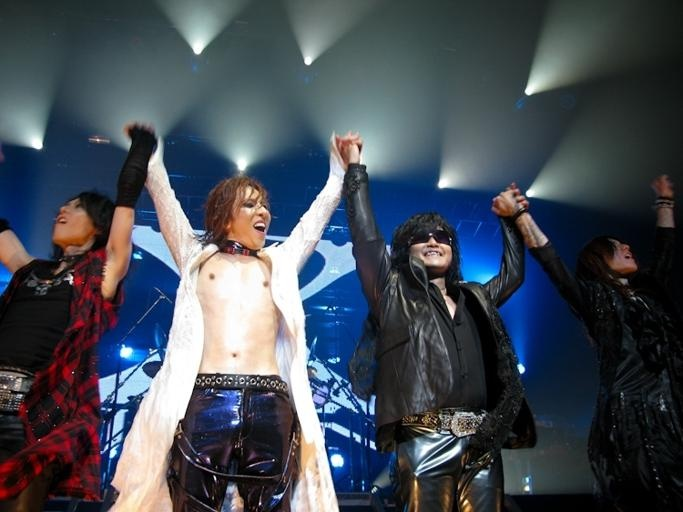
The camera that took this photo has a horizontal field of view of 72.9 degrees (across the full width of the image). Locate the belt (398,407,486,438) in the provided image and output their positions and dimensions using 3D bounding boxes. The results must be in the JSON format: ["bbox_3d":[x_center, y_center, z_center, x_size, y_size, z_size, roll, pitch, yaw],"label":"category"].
[{"bbox_3d":[0.577,0.924,2.567,0.490,0.145,0.086,5,-22,-11],"label":"belt"}]

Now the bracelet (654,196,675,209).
[{"bbox_3d":[2.660,-0.433,3.822,0.097,0.068,0.110,5,-1,-10],"label":"bracelet"}]

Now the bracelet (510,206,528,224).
[{"bbox_3d":[1.272,-0.295,3.300,0.089,0.101,0.096,-13,4,3],"label":"bracelet"}]
